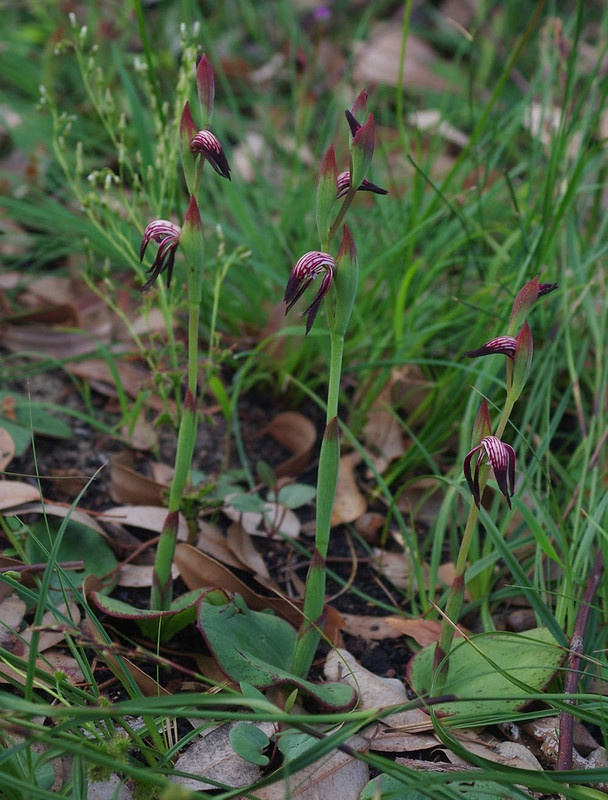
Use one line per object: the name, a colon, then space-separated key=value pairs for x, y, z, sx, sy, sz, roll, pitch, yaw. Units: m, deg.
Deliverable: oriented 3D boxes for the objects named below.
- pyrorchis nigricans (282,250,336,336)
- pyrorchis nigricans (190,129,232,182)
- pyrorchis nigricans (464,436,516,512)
pyrorchis nigricans: x=0.005 y=-0.097 z=0.728 sx=0.051 sy=0.076 sz=0.020 roll=22 pitch=22 yaw=-7
pyrorchis nigricans: x=-0.090 y=-0.219 z=0.711 sx=0.044 sy=0.020 sz=0.080 roll=6 pitch=40 yaw=-20
pyrorchis nigricans: x=0.175 y=0.066 z=0.706 sx=0.046 sy=0.061 sz=0.051 roll=-11 pitch=9 yaw=-29
